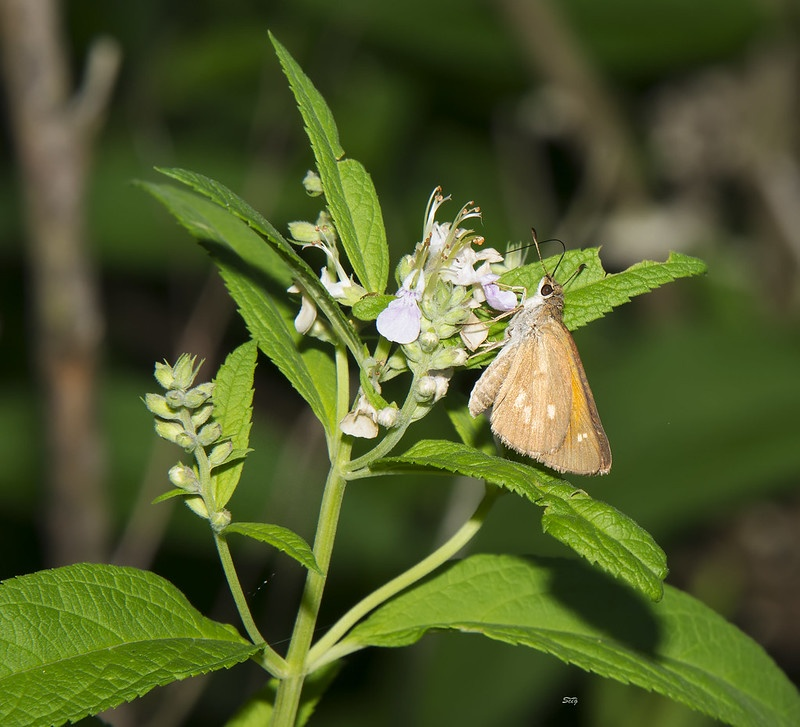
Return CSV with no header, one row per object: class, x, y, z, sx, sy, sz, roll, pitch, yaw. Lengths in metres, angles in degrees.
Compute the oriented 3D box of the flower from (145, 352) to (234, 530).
flower,-0.888,0.317,3.724,0.345,0.765,0.468,-6,18,-14
